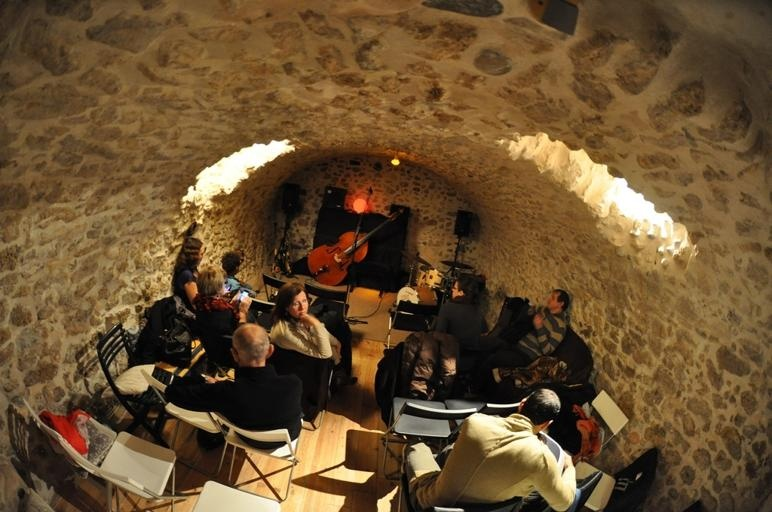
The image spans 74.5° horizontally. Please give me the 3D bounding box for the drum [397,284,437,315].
[{"bbox_3d":[0.435,0.621,7.101,0.421,0.357,0.372,6,-7,-39],"label":"drum"}]

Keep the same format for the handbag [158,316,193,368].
[{"bbox_3d":[-2.328,0.947,5.577,0.324,0.561,0.590,-1,-3,13],"label":"handbag"}]

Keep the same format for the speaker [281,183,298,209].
[{"bbox_3d":[-1.682,-1.078,8.960,0.306,0.359,0.348,8,43,-21],"label":"speaker"}]

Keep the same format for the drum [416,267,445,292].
[{"bbox_3d":[0.688,0.376,8.155,0.328,0.295,0.401,12,6,-22],"label":"drum"}]

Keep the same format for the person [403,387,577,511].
[{"bbox_3d":[0.792,1.535,3.948,0.535,0.874,0.525,50,54,3],"label":"person"}]

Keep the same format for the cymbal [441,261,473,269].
[{"bbox_3d":[1.113,0.151,7.942,0.253,0.033,0.252,13,2,-6],"label":"cymbal"}]

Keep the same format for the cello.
[{"bbox_3d":[-0.487,-0.285,9.105,0.819,2.114,0.421,45,-11,2],"label":"cello"}]

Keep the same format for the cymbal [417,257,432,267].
[{"bbox_3d":[0.600,0.116,7.689,0.180,0.041,0.172,12,0,-28],"label":"cymbal"}]
